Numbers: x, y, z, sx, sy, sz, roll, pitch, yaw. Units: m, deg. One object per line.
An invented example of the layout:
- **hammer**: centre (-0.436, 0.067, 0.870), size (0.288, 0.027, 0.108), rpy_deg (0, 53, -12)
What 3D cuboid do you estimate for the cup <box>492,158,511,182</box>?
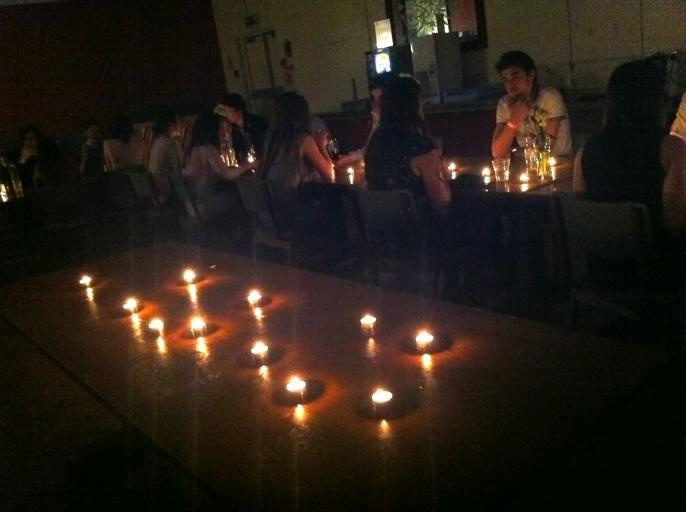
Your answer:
- **cup**: centre (0.816, -0.430, 2.876), size (0.113, 0.130, 0.114), rpy_deg (-3, 5, 0)
